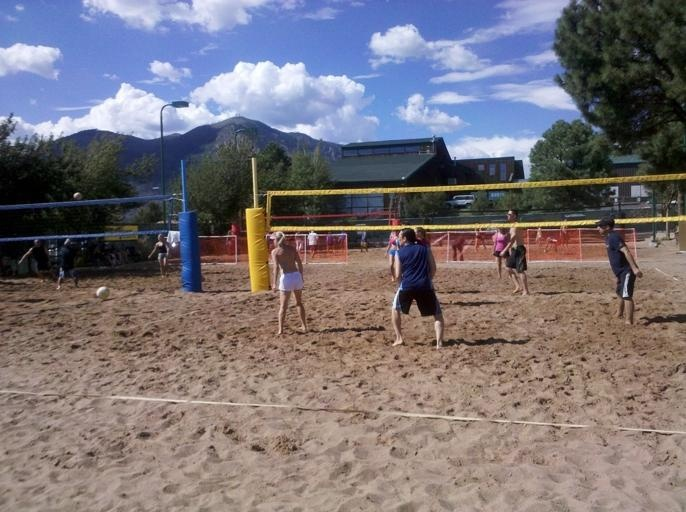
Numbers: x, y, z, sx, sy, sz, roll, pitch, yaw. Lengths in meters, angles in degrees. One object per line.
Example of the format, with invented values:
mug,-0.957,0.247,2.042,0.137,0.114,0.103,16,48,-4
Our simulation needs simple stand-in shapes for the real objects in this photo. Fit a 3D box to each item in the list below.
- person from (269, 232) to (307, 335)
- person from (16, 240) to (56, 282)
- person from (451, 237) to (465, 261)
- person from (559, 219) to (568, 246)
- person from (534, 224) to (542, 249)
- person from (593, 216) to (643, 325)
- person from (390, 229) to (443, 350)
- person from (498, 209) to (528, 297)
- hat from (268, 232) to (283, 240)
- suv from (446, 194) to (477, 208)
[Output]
person,-0.774,0.362,8.829,0.489,1.414,0.749,-2,1,-5
person,-8.210,0.158,16.297,0.875,1.379,0.479,-6,10,-25
person,3.382,-0.204,18.037,0.334,0.649,1.484,-1,1,9
person,6.542,-0.664,18.188,0.231,0.954,0.584,-2,3,18
person,6.590,-0.632,20.489,0.204,0.566,2.320,-1,1,18
person,4.059,0.177,8.977,0.541,1.470,1.611,-1,1,26
person,0.933,0.404,7.862,0.677,1.514,0.514,-1,1,22
person,3.149,-0.087,11.206,0.442,1.489,1.257,-1,1,15
hat,-0.942,-0.282,8.666,0.125,0.124,0.389,-2,1,-23
suv,8.202,-3.658,42.603,1.699,0.912,1.098,5,7,12
